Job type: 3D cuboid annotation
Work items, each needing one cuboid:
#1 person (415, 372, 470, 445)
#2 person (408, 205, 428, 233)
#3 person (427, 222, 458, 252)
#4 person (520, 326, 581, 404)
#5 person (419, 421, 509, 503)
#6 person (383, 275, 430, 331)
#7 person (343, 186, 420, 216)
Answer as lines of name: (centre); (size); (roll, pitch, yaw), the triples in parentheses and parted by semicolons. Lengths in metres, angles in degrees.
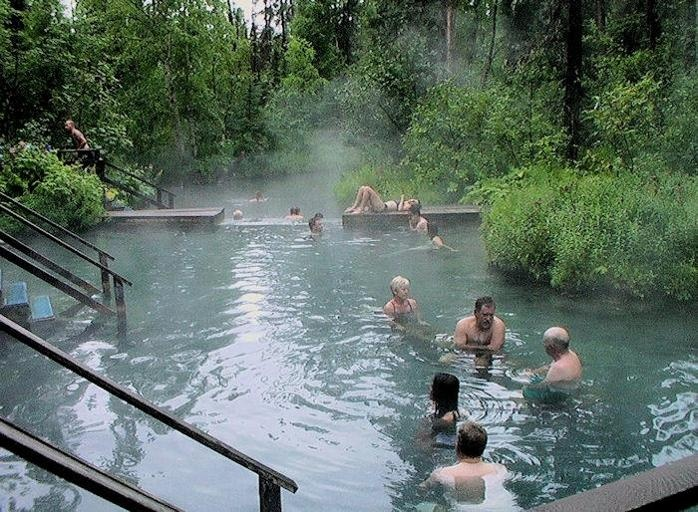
person: (1.205, 1.973, 7.179); (0.709, 0.986, 0.519); (-1, 15, 3)
person: (2.045, -1.064, 16.650); (0.564, 0.964, 1.160); (4, 6, 8)
person: (2.449, -0.499, 15.461); (0.352, 0.340, 1.117); (-9, 34, -2)
person: (2.863, 1.497, 7.888); (0.768, 1.074, 1.027); (9, 21, 40)
person: (1.330, 2.271, 6.210); (0.989, 0.822, 0.341); (-6, 19, -6)
person: (0.989, 0.795, 9.839); (0.712, 0.931, 0.465); (-3, 19, 3)
person: (1.052, -1.663, 17.977); (2.277, 0.919, 1.065); (0, 4, -10)
